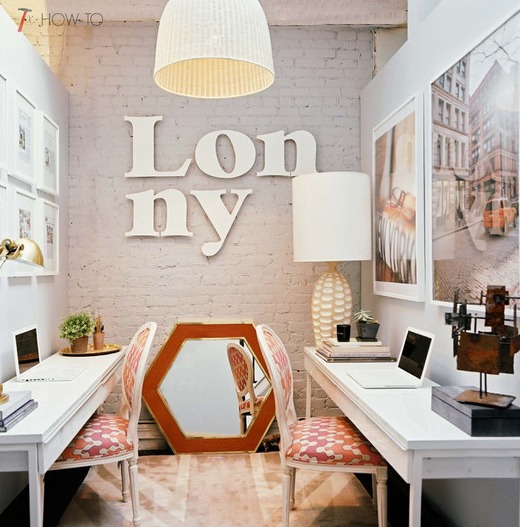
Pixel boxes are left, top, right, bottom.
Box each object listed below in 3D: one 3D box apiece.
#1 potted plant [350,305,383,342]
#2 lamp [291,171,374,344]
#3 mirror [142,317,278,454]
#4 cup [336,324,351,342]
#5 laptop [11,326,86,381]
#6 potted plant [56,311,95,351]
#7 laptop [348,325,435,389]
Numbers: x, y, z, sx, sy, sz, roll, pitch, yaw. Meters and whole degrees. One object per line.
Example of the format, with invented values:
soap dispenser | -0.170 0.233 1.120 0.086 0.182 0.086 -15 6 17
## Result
potted plant | 0.591 0.354 2.686 0.249 0.239 0.201 0 -7 -1
lamp | 0.401 -0.013 2.626 0.441 0.993 0.340 0 -1 13
mirror | -0.309 0.740 3.258 0.950 0.797 0.801 -1 -2 1
cup | 0.456 0.396 2.574 0.084 0.090 0.086 0 -6 0
laptop | -1.036 0.457 2.207 0.226 0.210 0.316 1 -1 -2
potted plant | -1.043 0.381 2.695 0.268 0.263 0.212 1 -5 -10
laptop | 0.563 0.412 1.985 0.245 0.181 0.304 0 -4 -4
